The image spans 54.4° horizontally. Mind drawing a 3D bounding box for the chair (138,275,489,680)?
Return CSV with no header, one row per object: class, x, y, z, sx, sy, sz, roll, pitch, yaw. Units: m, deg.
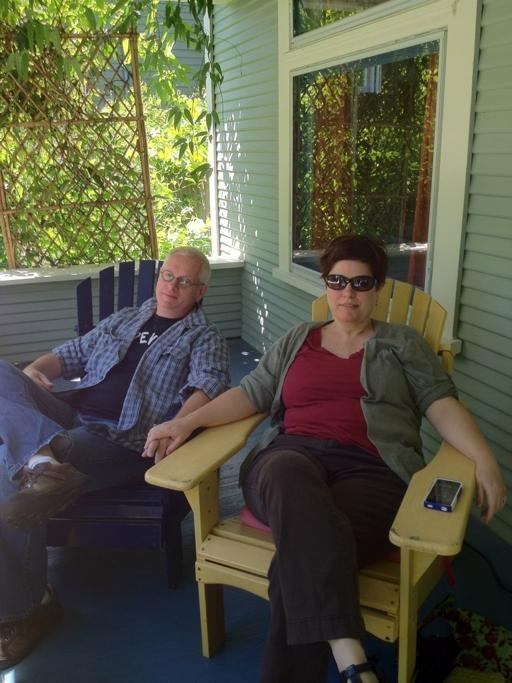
chair,0.187,0.283,1.687,0.894,1.041,1.207,11,22,31
